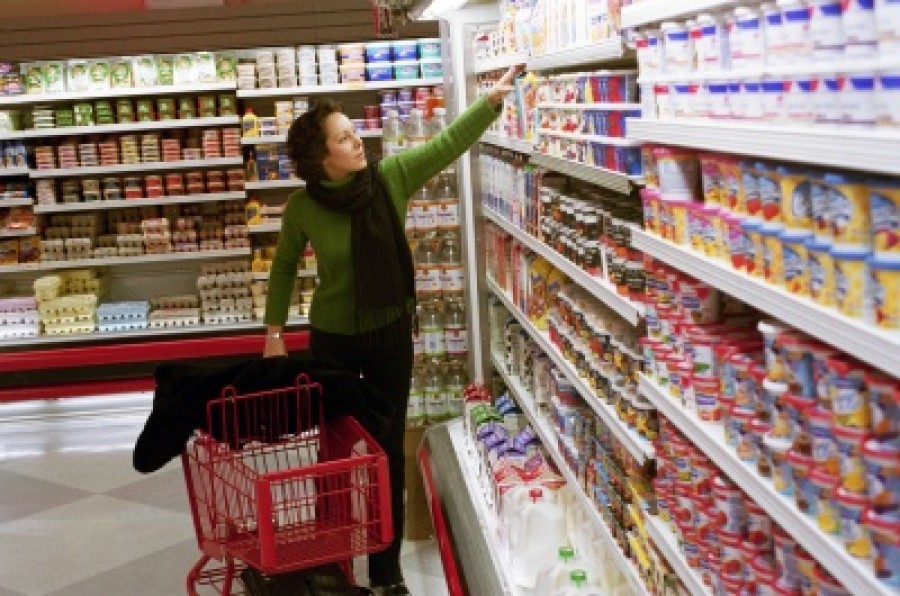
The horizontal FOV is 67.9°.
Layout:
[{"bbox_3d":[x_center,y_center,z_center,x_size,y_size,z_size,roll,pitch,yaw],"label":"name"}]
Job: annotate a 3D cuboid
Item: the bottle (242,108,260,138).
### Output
[{"bbox_3d":[-1.603,-1.392,5.384,0.153,0.185,0.115,-3,15,-6],"label":"bottle"}]
